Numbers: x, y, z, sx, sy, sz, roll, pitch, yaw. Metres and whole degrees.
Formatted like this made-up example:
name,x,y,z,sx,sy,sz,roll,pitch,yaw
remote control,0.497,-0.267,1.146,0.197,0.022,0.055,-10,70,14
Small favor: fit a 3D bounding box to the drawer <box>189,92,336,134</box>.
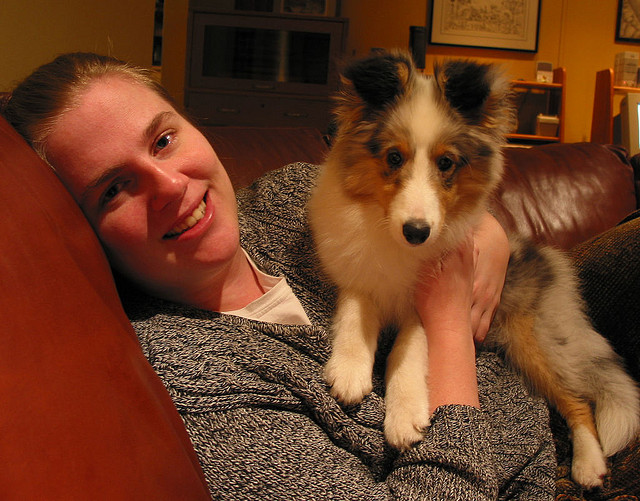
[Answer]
name,x,y,z,sx,sy,sz,roll,pitch,yaw
drawer,-0.559,-1.031,4.798,1.027,0.265,0.507,10,-5,-12
